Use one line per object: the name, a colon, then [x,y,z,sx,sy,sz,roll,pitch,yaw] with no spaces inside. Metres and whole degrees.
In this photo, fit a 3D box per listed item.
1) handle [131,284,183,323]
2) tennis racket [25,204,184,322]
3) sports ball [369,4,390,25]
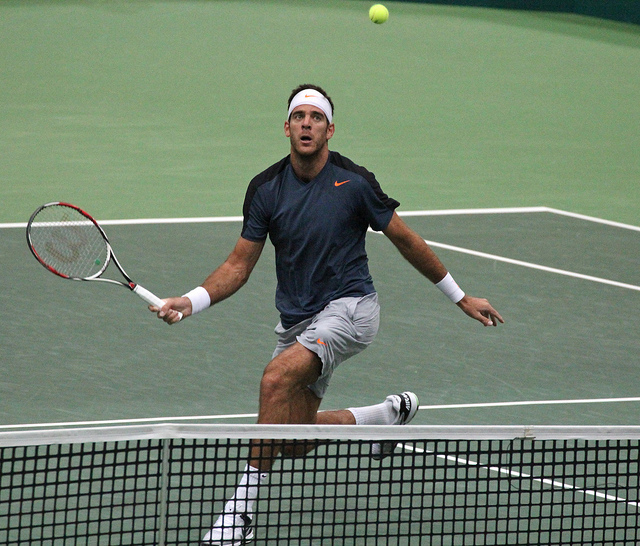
handle: [-1.263,0.244,8.188,0.540,0.102,0.090,30,33,-24]
tennis racket: [-1.603,0.023,8.527,0.150,1.912,0.517,9,71,34]
sports ball: [0.741,-3.322,13.768,0.203,0.323,0.297,15,37,4]
